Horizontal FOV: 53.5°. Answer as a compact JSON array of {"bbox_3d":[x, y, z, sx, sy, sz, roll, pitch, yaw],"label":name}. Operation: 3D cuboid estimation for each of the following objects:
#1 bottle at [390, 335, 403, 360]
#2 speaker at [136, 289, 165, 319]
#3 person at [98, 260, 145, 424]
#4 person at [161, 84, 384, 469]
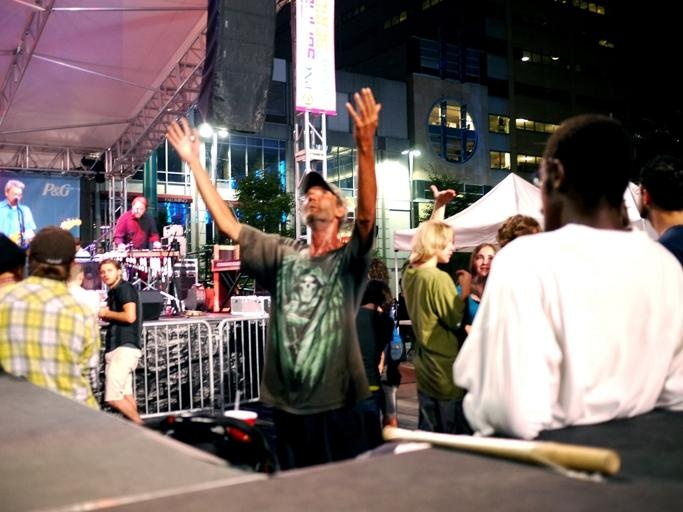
[{"bbox_3d":[0.447,0.779,5.763,0.125,0.194,0.053,1,-4,-36],"label":"bottle"},{"bbox_3d":[-2.163,0.559,7.756,0.313,0.315,0.429,-2,2,-32],"label":"speaker"},{"bbox_3d":[-2.016,0.823,6.229,0.521,1.617,0.552,6,-41,-19],"label":"person"},{"bbox_3d":[-0.256,0.282,3.394,0.907,1.407,0.407,4,3,34],"label":"person"}]
